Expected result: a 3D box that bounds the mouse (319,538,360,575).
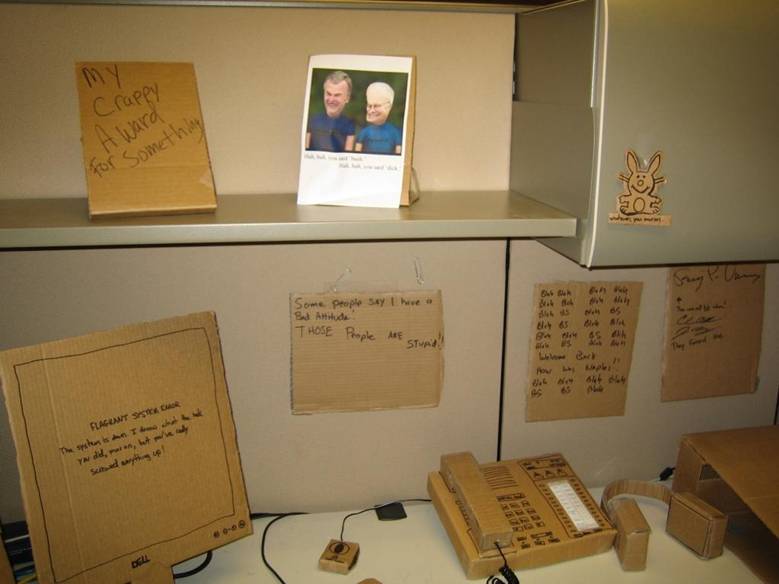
[{"bbox_3d":[-0.115,0.609,1.450,0.086,0.033,0.080,0,15,6],"label":"mouse"}]
